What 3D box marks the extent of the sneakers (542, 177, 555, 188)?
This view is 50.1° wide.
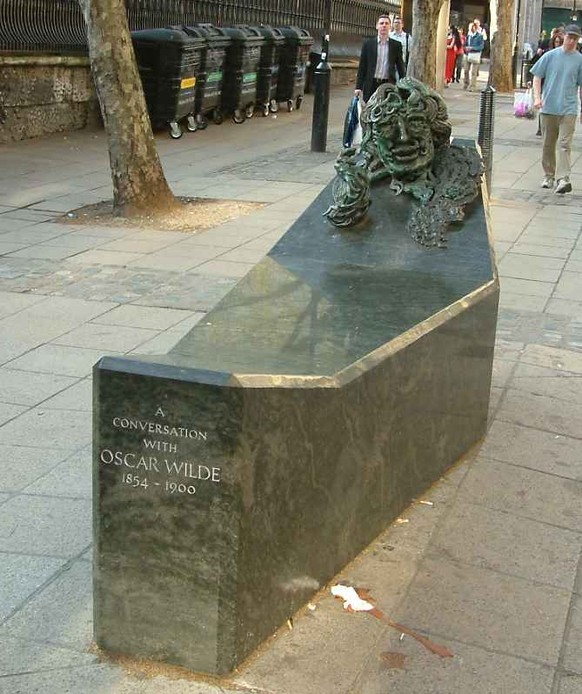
[{"bbox_3d":[4.268,-2.741,10.391,0.113,0.138,0.331,5,18,23],"label":"sneakers"}]

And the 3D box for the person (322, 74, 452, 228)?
[{"bbox_3d":[0.593,-1.177,3.791,0.685,0.912,0.707,5,11,13],"label":"person"}]
